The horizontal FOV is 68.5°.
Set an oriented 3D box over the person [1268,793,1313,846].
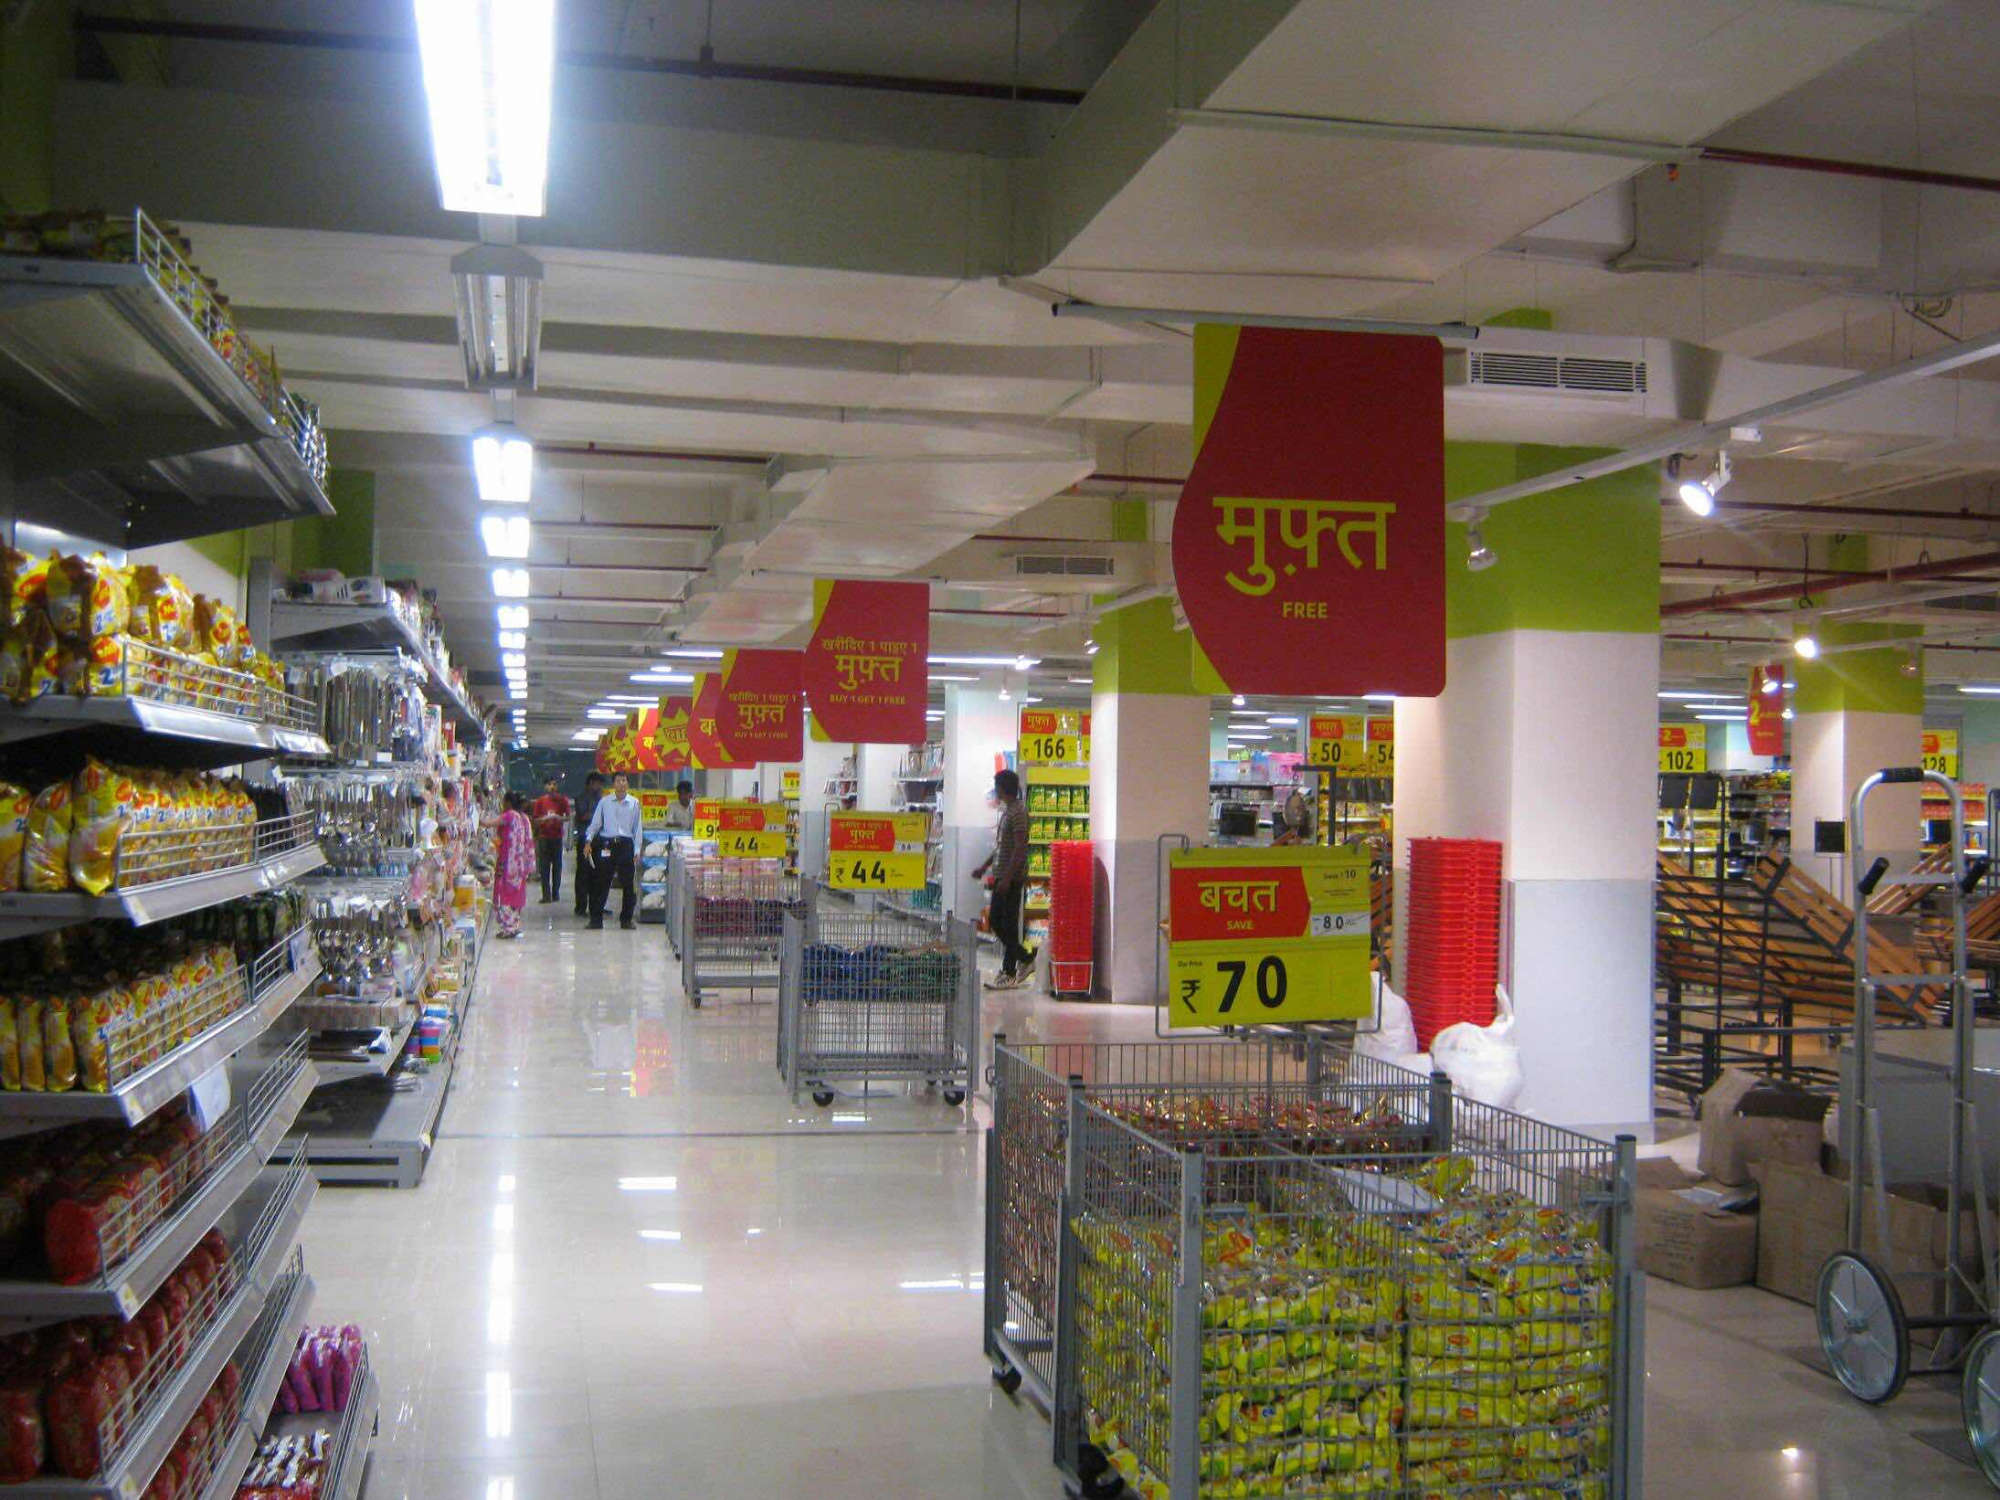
[{"bbox_3d":[3.528,0.800,17.554,0.508,0.562,0.984,0,1,9],"label":"person"}]
